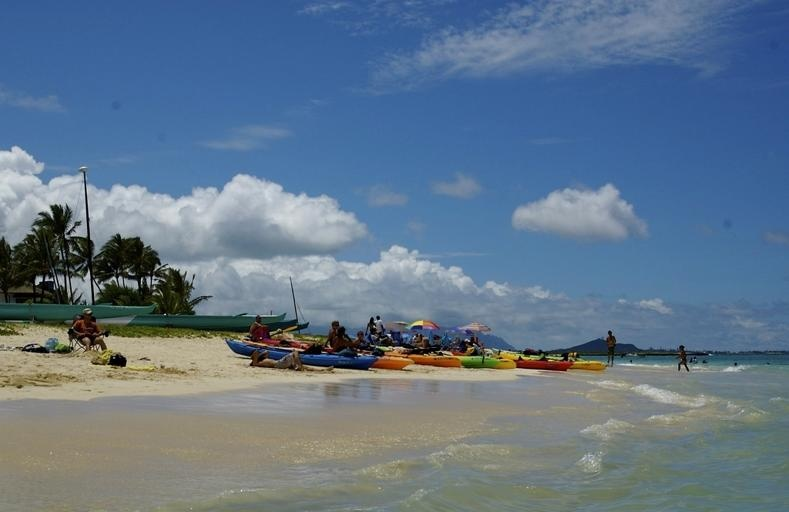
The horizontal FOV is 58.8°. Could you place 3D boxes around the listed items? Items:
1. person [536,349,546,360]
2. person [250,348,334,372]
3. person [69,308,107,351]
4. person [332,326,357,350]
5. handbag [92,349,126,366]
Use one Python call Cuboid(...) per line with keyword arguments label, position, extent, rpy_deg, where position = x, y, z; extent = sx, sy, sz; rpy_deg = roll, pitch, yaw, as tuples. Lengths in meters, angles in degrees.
Cuboid(label="person", position=(8.311, 5.566, 39.850), extent=(0.430, 0.474, 1.942), rpy_deg=(3, 0, 11))
Cuboid(label="person", position=(-3.967, 4.013, 26.882), extent=(2.248, 0.347, 0.678), rpy_deg=(8, -2, 24))
Cuboid(label="person", position=(-10.937, 2.847, 25.198), extent=(1.550, 1.822, 1.137), rpy_deg=(-11, -11, 36))
Cuboid(label="person", position=(-2.043, 3.397, 28.664), extent=(0.905, 1.017, 0.702), rpy_deg=(3, 0, -36))
Cuboid(label="handbag", position=(-9.139, 3.311, 22.372), extent=(0.955, 0.501, 1.268), rpy_deg=(3, 0, -35))
